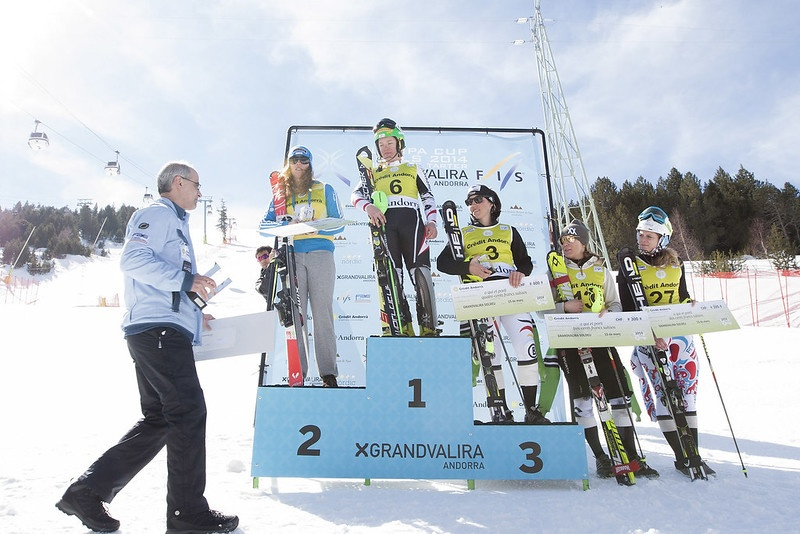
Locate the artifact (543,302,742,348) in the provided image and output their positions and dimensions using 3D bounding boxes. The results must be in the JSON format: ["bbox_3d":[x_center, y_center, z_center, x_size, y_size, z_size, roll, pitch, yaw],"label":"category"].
[{"bbox_3d":[3.016,0.720,7.390,2.377,0.695,0.337,0,-22,3],"label":"artifact"}]

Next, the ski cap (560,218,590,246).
[{"bbox_3d":[2.468,-0.485,8.144,0.274,0.347,0.401,-2,-21,46],"label":"ski cap"}]

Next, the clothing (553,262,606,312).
[{"bbox_3d":[2.467,0.307,8.085,0.827,0.864,0.481,3,-12,3],"label":"clothing"}]

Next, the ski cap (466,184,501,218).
[{"bbox_3d":[1.139,-0.979,8.140,0.371,0.410,0.516,22,8,-24],"label":"ski cap"}]

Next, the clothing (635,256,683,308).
[{"bbox_3d":[3.549,0.230,7.995,0.562,0.577,0.313,3,-17,-9],"label":"clothing"}]

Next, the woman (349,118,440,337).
[{"bbox_3d":[-0.061,-0.554,8.189,1.125,3.251,0.944,-4,-20,4],"label":"woman"}]

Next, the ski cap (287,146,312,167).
[{"bbox_3d":[-1.436,-1.607,8.522,0.262,0.235,0.415,2,-18,0],"label":"ski cap"}]

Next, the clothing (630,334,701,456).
[{"bbox_3d":[3.639,1.534,7.875,0.618,2.002,0.590,-7,2,7],"label":"clothing"}]

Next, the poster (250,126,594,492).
[{"bbox_3d":[0.253,0.773,7.876,4.471,5.537,1.862,0,-16,0],"label":"poster"}]

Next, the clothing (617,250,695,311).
[{"bbox_3d":[3.580,0.046,8.330,1.260,0.479,0.985,-2,14,-30],"label":"clothing"}]

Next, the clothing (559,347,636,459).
[{"bbox_3d":[2.635,1.654,7.777,0.584,1.858,0.311,-9,-19,6],"label":"clothing"}]

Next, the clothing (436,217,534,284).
[{"bbox_3d":[1.175,-0.107,7.865,1.070,1.042,0.625,-5,-9,2],"label":"clothing"}]

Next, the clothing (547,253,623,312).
[{"bbox_3d":[2.472,0.238,7.925,0.650,0.721,0.404,0,-26,-2],"label":"clothing"}]

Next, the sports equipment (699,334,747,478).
[{"bbox_3d":[5.544,2.392,10.039,0.065,1.918,0.131,-12,-19,-14],"label":"sports equipment"}]

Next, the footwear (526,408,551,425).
[{"bbox_3d":[1.723,1.871,7.281,0.134,0.150,0.366,1,-13,-8],"label":"footwear"}]

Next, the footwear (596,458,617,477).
[{"bbox_3d":[2.632,2.575,7.559,0.216,0.272,0.146,-9,-11,28],"label":"footwear"}]
